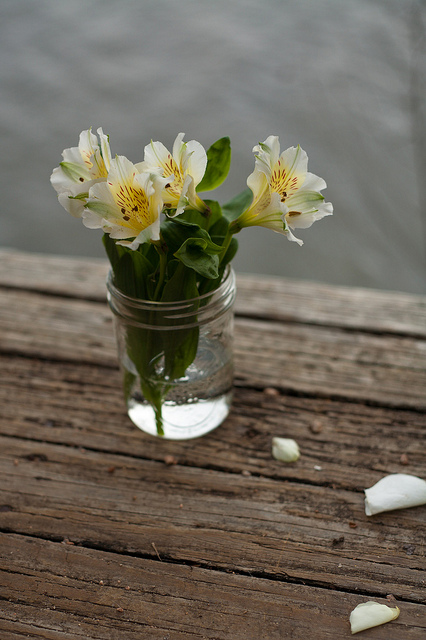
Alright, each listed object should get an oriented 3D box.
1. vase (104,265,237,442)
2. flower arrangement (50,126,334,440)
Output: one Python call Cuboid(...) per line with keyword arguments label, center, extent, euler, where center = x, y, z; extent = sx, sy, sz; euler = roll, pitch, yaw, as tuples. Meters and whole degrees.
Cuboid(label="vase", center=(-0.038, 0.033, 0.703), extent=(0.129, 0.179, 0.132), euler=(5, 30, 15))
Cuboid(label="flower arrangement", center=(-0.025, -0.023, 0.630), extent=(0.204, 0.382, 0.173), euler=(-19, 52, -19))
